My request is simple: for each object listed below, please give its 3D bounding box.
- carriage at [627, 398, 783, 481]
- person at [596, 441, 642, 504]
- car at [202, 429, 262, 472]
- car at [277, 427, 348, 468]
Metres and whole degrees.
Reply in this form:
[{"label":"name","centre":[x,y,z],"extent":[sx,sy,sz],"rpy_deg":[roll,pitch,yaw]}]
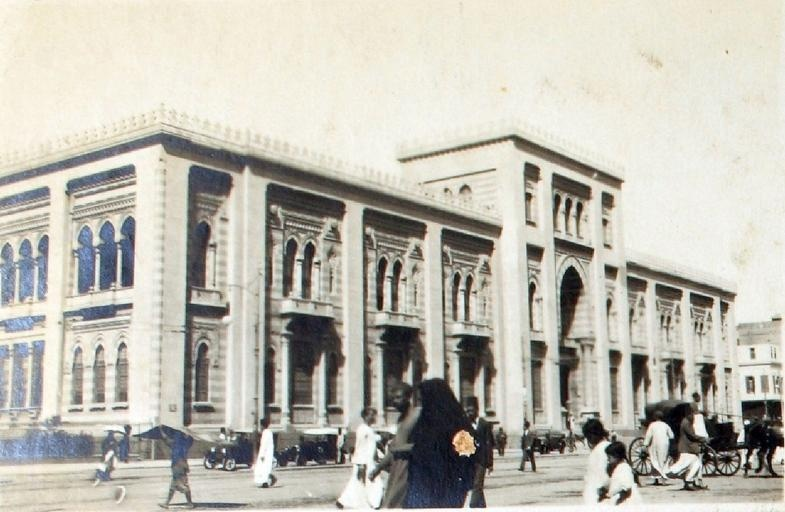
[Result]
[{"label":"carriage","centre":[9.283,5.054,32.504],"extent":[2.618,2.345,4.334],"rpy_deg":[10,-20,-32]},{"label":"person","centre":[4.952,4.750,23.567],"extent":[1.119,1.710,1.225],"rpy_deg":[-3,-9,25]},{"label":"car","centre":[-4.833,5.834,32.585],"extent":[1.450,0.785,2.216],"rpy_deg":[3,9,-4]},{"label":"car","centre":[-2.694,6.005,33.891],"extent":[1.822,0.974,1.056],"rpy_deg":[6,-13,-36]}]
